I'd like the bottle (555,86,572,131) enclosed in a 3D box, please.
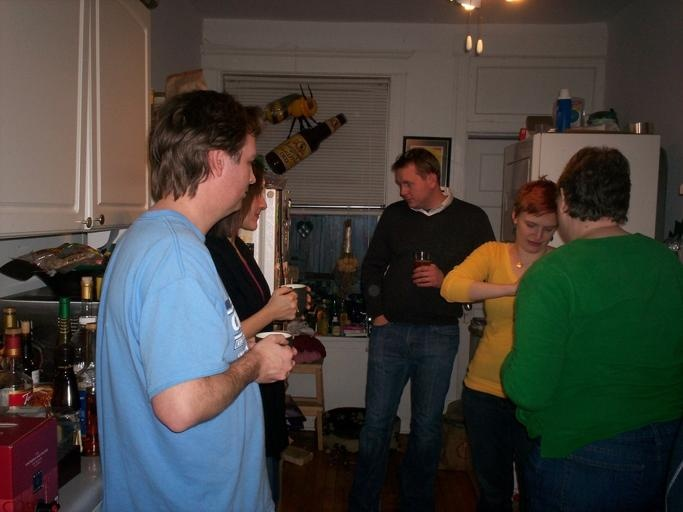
[{"bbox_3d":[1.160,-0.752,3.098,0.080,0.228,0.247,2,3,20],"label":"bottle"}]

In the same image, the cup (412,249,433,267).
[{"bbox_3d":[0.413,0.007,3.014,0.083,0.078,0.082,1,-3,0],"label":"cup"}]

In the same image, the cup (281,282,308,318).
[{"bbox_3d":[-0.158,0.163,2.341,0.086,0.128,0.135,-2,-6,9],"label":"cup"}]

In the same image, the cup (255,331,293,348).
[{"bbox_3d":[-0.233,0.269,2.017,0.095,0.063,0.083,1,-2,-3],"label":"cup"}]

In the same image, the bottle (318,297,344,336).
[{"bbox_3d":[-0.079,0.431,4.357,0.193,0.260,0.205,1,3,0],"label":"bottle"}]

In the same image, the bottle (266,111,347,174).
[{"bbox_3d":[-0.246,-0.827,4.162,0.733,0.221,0.220,-35,56,-11],"label":"bottle"}]
